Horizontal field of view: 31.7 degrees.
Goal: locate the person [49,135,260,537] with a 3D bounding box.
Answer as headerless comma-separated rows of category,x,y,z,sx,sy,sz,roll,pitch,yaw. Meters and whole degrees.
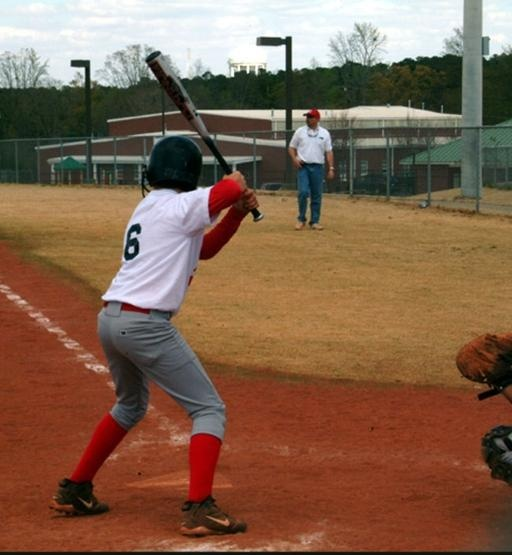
person,-0.436,0.232,4.028,0.836,1.740,0.536,0,5,14

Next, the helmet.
helmet,-0.380,-0.532,4.180,0.244,0.265,0.320,5,1,-19

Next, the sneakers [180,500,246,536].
sneakers,-0.169,1.027,3.887,0.322,0.171,0.109,10,-16,-31

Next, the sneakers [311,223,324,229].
sneakers,1.020,-0.840,14.654,0.081,0.070,0.158,0,-1,-40

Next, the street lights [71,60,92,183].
street lights,-6.370,-6.439,33.511,0.723,3.311,0.469,-2,5,-8

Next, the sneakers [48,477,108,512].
sneakers,-0.797,1.014,4.218,0.127,0.174,0.371,8,-9,30
